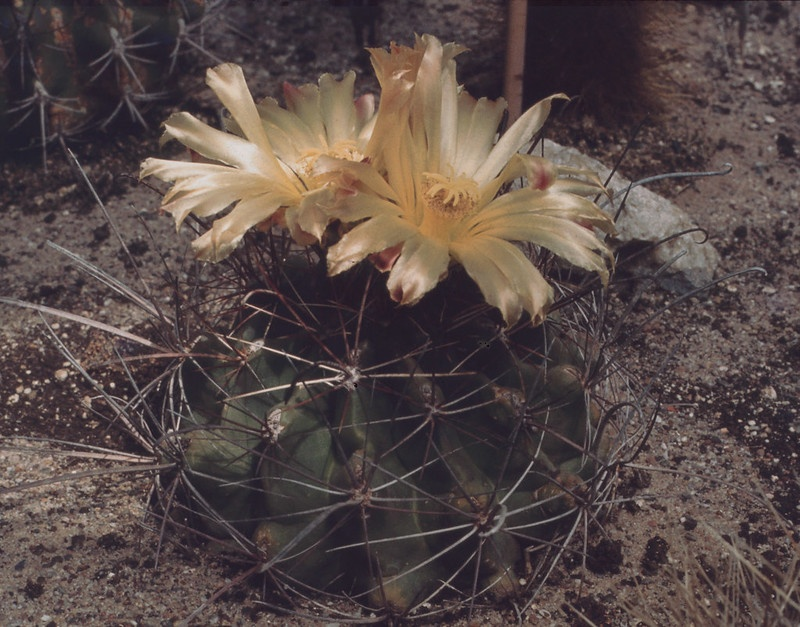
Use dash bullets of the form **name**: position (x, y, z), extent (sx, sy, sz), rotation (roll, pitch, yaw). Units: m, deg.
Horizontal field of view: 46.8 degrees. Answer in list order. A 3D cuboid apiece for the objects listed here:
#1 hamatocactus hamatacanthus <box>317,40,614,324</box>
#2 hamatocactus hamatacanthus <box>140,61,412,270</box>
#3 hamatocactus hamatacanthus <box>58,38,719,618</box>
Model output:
- **hamatocactus hamatacanthus**: position (0.118, -0.309, 2.271), extent (0.675, 0.278, 0.746), rotation (-6, 80, -28)
- **hamatocactus hamatacanthus**: position (-0.319, -0.410, 2.327), extent (0.542, 0.223, 0.565), rotation (33, 74, 12)
- **hamatocactus hamatacanthus**: position (-0.019, 0.165, 3.004), extent (1.622, 0.951, 1.634), rotation (40, 96, 2)
